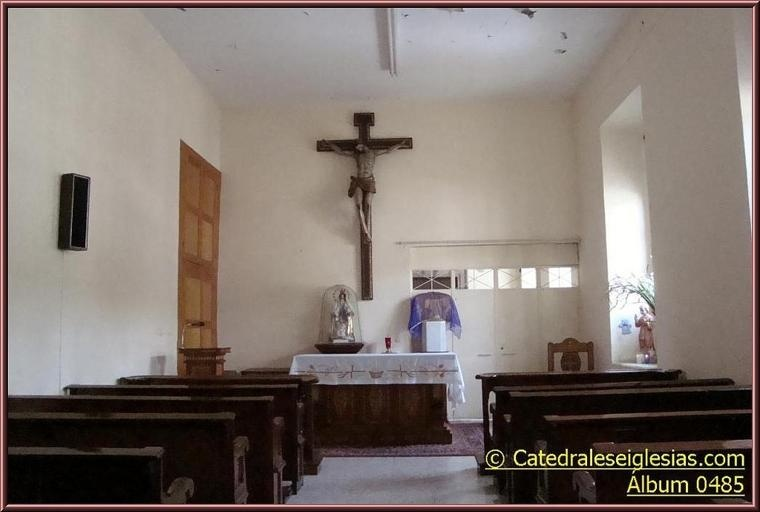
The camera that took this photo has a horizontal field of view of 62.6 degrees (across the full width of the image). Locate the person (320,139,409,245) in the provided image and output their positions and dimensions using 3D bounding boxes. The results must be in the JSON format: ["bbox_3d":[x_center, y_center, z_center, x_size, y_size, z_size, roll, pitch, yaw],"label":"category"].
[{"bbox_3d":[-0.230,-0.966,9.145,1.121,1.491,0.301,0,-8,-4],"label":"person"}]

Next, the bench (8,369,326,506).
[{"bbox_3d":[-1.602,1.540,5.355,2.057,0.964,2.176,-1,-8,-1],"label":"bench"}]

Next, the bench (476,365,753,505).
[{"bbox_3d":[1.786,1.484,5.381,1.839,0.957,1.348,-2,-8,6],"label":"bench"}]

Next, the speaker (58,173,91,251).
[{"bbox_3d":[-2.815,-0.408,5.783,0.215,0.694,0.259,-1,-8,5],"label":"speaker"}]

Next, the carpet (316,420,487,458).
[{"bbox_3d":[0.307,2.146,7.160,1.814,0.057,1.284,-1,-7,2],"label":"carpet"}]

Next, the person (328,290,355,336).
[{"bbox_3d":[-0.504,0.795,8.736,0.341,0.770,0.595,0,-8,-5],"label":"person"}]
